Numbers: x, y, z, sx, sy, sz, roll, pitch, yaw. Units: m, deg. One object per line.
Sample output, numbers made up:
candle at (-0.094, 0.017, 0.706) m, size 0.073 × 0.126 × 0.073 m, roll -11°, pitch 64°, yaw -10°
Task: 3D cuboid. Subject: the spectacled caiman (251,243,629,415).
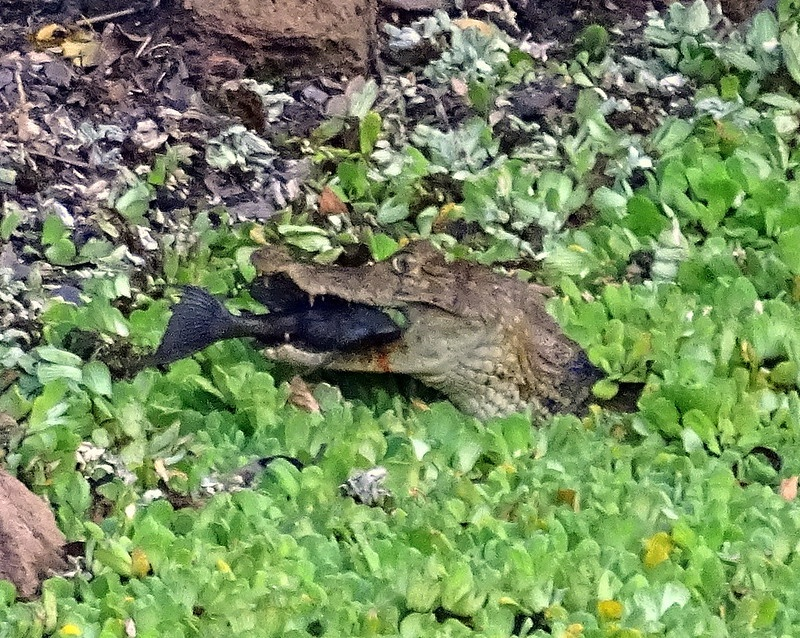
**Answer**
spectacled caiman at (0.136, 0.080, 3.773) m, size 1.601 × 0.527 × 0.543 m, roll 9°, pitch 83°, yaw -35°
